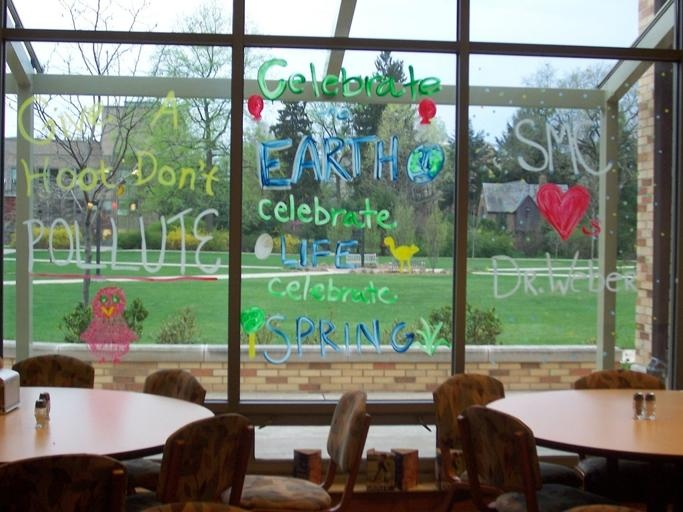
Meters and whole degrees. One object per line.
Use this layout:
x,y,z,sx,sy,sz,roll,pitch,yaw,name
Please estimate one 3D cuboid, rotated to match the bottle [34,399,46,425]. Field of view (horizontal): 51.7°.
-1.587,0.818,3.701,0.068,0.133,0.068,0,0,0,bottle
